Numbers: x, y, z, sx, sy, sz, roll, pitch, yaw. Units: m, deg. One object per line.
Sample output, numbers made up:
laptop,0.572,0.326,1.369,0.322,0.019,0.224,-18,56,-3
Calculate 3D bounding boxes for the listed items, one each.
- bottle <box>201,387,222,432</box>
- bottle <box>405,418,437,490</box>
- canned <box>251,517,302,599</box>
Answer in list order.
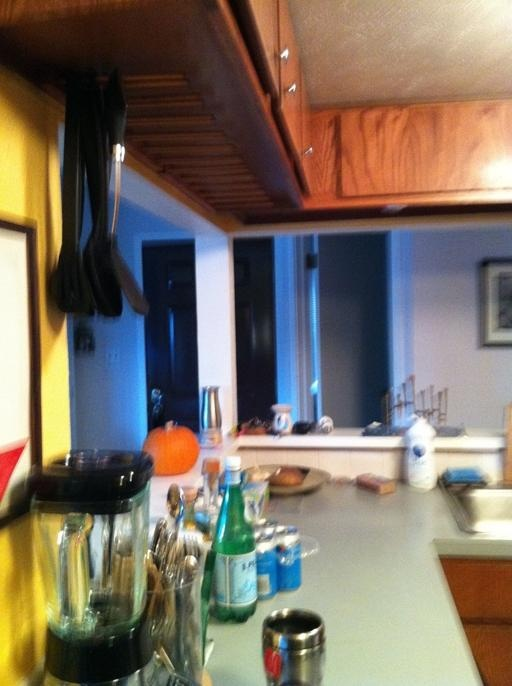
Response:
bottle,-0.148,0.206,1.767,0.065,0.143,0.123,1,2,-6
bottle,0.550,0.357,1.836,0.105,0.222,0.175,1,2,19
canned,0.042,0.407,1.061,0.099,0.129,0.109,-1,-6,-4
